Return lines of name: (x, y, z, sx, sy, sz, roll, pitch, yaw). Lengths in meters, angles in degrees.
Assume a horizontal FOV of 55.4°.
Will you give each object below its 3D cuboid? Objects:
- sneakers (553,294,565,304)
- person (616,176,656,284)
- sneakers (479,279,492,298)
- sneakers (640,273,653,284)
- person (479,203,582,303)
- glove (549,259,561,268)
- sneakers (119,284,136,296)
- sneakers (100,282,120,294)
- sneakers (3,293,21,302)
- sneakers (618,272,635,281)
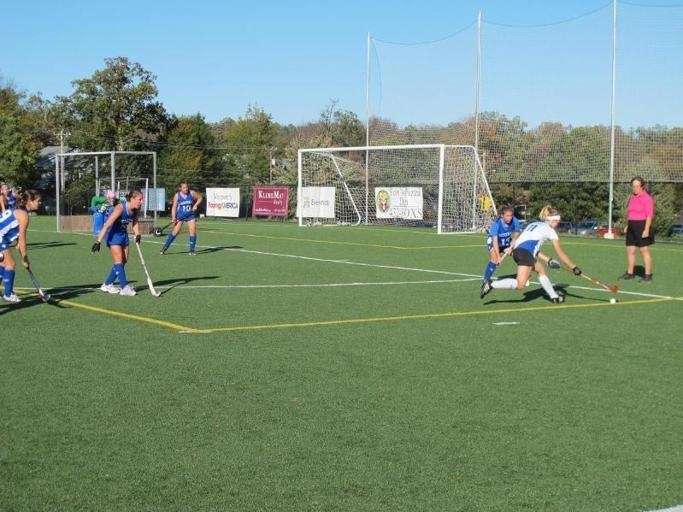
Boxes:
sneakers: (3.413, 0.673, 10.184, 0.094, 0.115, 0.273, 4, 7, 38)
person: (5.909, -0.534, 12.900, 0.531, 2.035, 0.803, 4, 9, 25)
sneakers: (2.228, 0.473, 10.017, 0.139, 0.190, 0.399, 7, 9, 9)
sneakers: (5.969, 0.416, 12.746, 0.203, 0.168, 0.397, -2, 0, 30)
person: (2.889, -0.012, 9.866, 1.735, 1.585, 0.700, -2, 7, -26)
glove: (3.876, 0.136, 11.831, 0.180, 0.107, 0.252, 5, -3, -8)
sneakers: (-3.463, 0.550, 10.510, 0.346, 0.180, 0.145, -1, 6, 31)
sneakers: (-3.828, 0.539, 10.725, 0.353, 0.192, 0.169, 5, 10, 10)
sneakers: (-4.850, 0.622, 9.538, 0.295, 0.150, 0.118, 2, 14, 2)
sneakers: (5.728, 0.399, 12.934, 0.389, 0.192, 0.162, -1, 3, -8)
